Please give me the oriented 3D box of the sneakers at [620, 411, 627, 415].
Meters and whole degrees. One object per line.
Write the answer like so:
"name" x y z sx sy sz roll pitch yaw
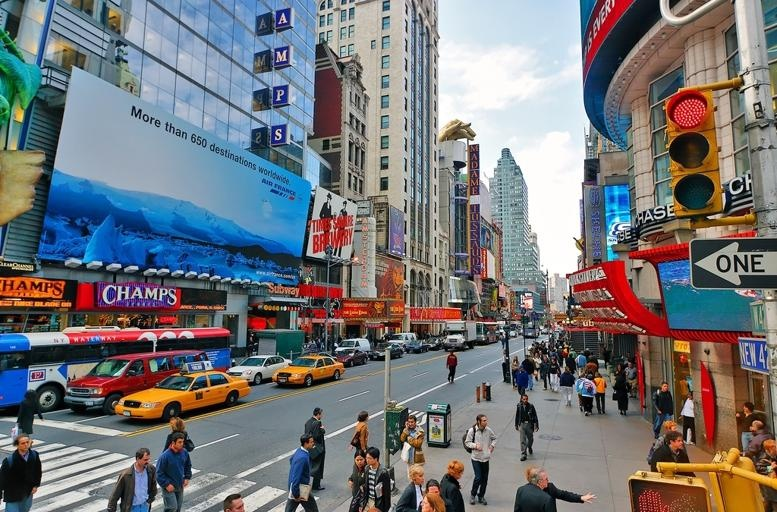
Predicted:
"sneakers" 11.777 7.865 26.861 0.187 0.132 0.104 -2 -11 4

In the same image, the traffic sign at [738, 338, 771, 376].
"traffic sign" 8.640 2.331 12.637 0.386 0.832 1.352 -6 -10 14

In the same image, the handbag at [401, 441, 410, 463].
"handbag" 0.628 6.375 17.409 0.261 0.739 0.494 2 -11 -26

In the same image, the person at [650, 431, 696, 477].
"person" 8.057 5.691 15.397 0.910 1.184 1.313 -8 -11 25

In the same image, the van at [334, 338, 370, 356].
"van" -2.748 7.702 46.411 1.396 1.239 2.551 -12 -21 36

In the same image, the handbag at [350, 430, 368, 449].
"handbag" -0.956 5.998 17.516 0.476 0.695 0.556 -3 -10 1

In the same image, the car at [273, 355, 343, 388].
"car" -5.001 7.294 34.158 1.711 1.874 4.379 -10 -12 35

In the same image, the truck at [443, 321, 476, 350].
"truck" 8.351 9.520 64.569 2.284 2.761 5.250 -3 -14 15
